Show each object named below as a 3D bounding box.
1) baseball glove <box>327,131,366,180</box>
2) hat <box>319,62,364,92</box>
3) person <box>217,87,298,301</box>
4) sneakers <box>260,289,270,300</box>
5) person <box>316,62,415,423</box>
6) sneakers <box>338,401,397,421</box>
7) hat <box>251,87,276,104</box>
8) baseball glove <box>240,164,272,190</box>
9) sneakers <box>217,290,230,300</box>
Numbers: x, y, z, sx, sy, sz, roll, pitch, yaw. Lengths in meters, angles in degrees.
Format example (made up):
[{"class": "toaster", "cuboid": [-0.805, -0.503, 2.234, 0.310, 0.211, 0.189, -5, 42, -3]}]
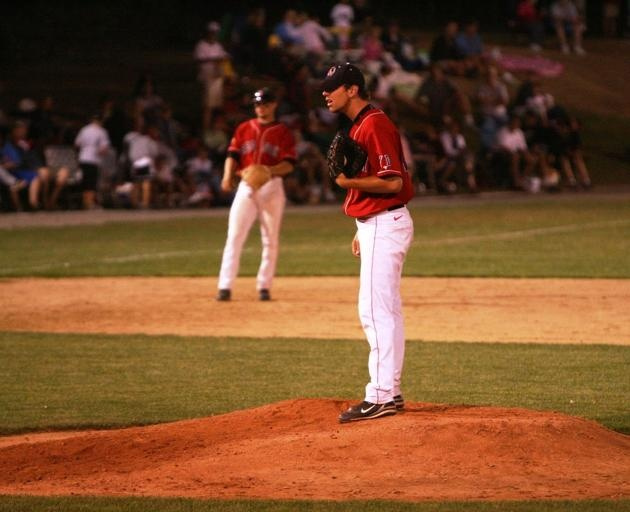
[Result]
[{"class": "baseball glove", "cuboid": [0.236, -0.731, 10.048, 0.316, 0.320, 0.111, 35, -4, -5]}, {"class": "hat", "cuboid": [0.206, -1.318, 10.194, 0.285, 0.168, 0.187, 0, 7, -12]}, {"class": "person", "cuboid": [-0.526, -0.553, 12.393, 0.758, 1.896, 0.412, 0, 5, -16]}, {"class": "sneakers", "cuboid": [-0.447, 0.349, 12.377, 0.093, 0.093, 0.149, 4, -1, 2]}, {"class": "person", "cuboid": [0.390, -0.091, 10.209, 0.669, 2.657, 0.366, 1, 5, 2]}, {"class": "sneakers", "cuboid": [0.403, 1.159, 10.278, 0.464, 0.176, 0.157, 0, -4, -8]}, {"class": "hat", "cuboid": [-0.448, -1.432, 12.354, 0.201, 0.144, 0.249, 1, 5, -1]}, {"class": "baseball glove", "cuboid": [-0.518, -0.699, 12.235, 0.282, 0.214, 0.108, 1, 5, -4]}, {"class": "sneakers", "cuboid": [-0.804, 0.350, 12.210, 0.121, 0.109, 0.060, 1, 5, -7]}]
